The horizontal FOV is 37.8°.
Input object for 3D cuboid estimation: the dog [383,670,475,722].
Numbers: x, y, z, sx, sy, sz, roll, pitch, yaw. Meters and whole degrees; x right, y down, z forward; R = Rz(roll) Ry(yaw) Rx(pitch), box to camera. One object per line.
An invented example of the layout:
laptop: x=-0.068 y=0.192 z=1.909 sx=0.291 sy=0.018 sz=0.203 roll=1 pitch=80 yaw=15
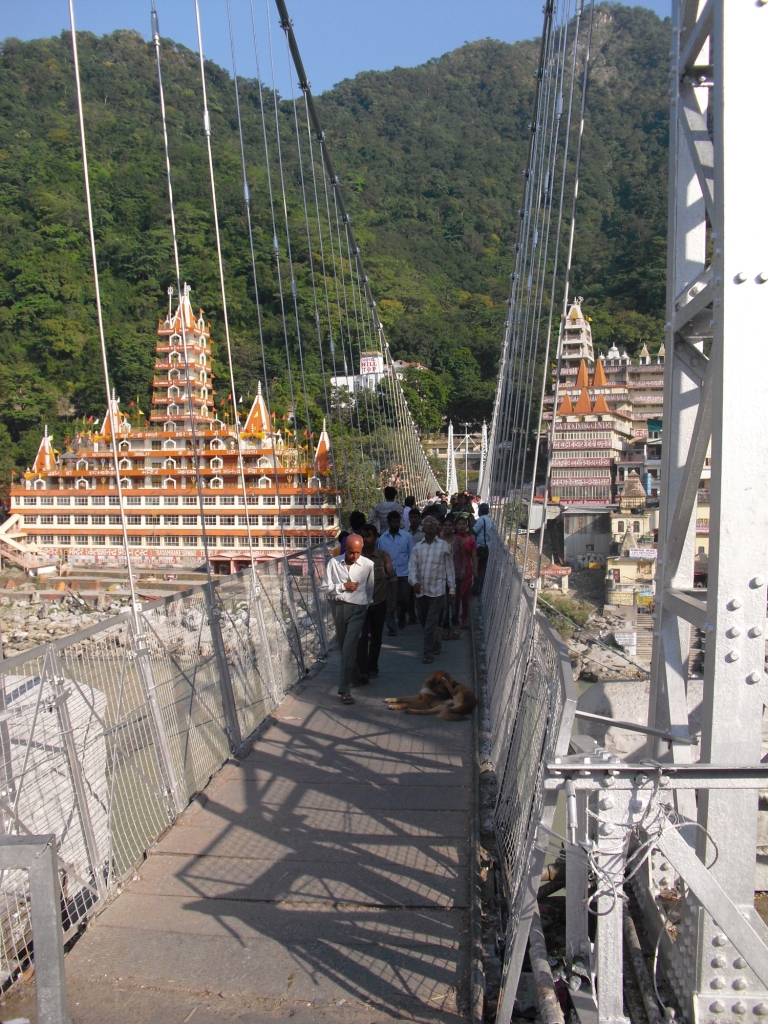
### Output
dog: x=0.283 y=1.077 z=6.537 sx=0.441 sy=0.193 sz=0.411 roll=-2 pitch=4 yaw=-23
